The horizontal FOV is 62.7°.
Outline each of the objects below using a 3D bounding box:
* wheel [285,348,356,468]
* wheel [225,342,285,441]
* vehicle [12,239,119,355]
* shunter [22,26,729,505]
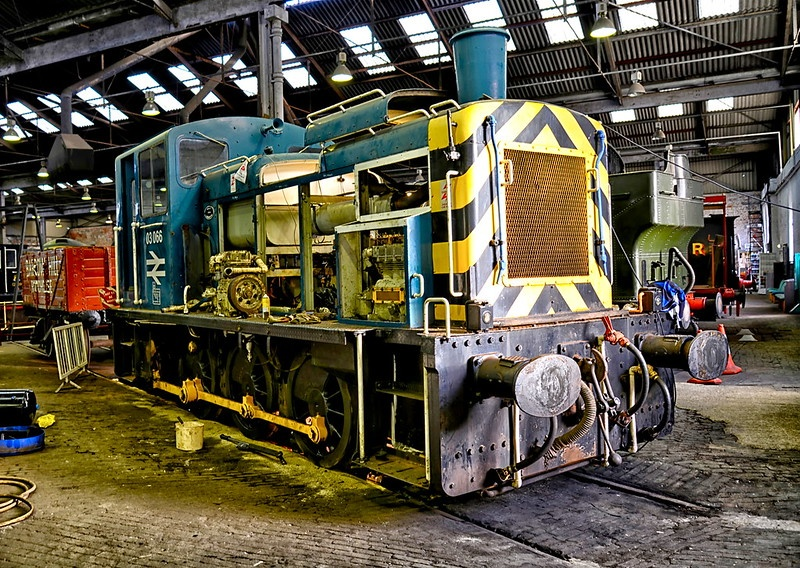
[{"bbox_3d":[-0.850,1.378,7.281,0.173,1.374,1.235,-2,0,-38],"label":"wheel"},{"bbox_3d":[-1.794,1.346,8.236,0.194,1.437,1.102,1,-3,-41],"label":"wheel"},{"bbox_3d":[-8.146,0.360,16.097,2.056,2.401,2.909,0,-2,-39],"label":"vehicle"},{"bbox_3d":[-1.393,-0.124,10.219,3.696,4.705,10.317,-3,4,-41],"label":"shunter"}]
